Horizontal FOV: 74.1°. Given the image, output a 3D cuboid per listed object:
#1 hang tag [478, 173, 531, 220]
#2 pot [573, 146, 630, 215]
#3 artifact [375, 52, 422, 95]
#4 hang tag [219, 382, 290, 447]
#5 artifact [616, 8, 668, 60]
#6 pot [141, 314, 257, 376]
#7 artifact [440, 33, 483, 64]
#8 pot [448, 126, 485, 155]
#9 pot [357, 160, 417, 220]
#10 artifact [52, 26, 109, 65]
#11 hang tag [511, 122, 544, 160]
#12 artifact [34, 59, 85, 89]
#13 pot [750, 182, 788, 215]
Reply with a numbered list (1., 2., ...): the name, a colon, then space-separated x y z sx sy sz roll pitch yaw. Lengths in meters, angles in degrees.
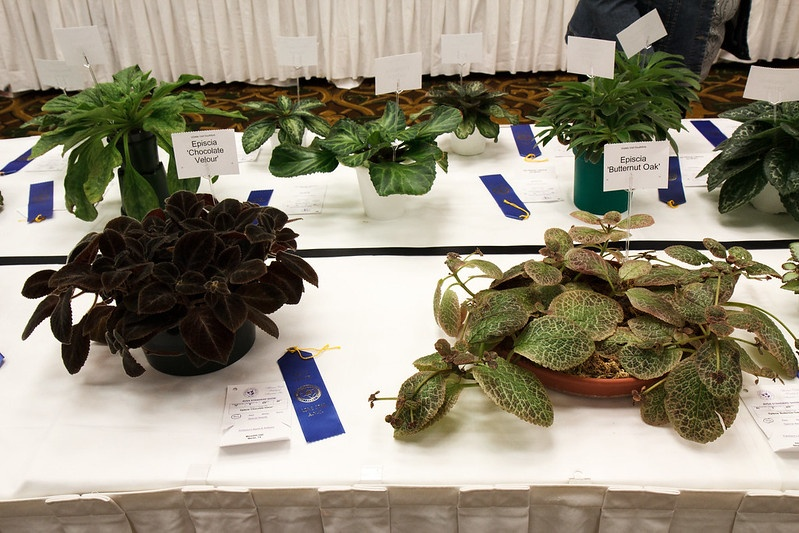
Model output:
1. hang tag: 0.387 -0.249 1.905 0.083 0.022 0.243 -16 40 -9
2. pot: 0.656 -0.272 1.816 0.193 0.201 0.211 -3 46 3
3. artifact: -0.004 -0.729 2.017 0.199 0.148 0.095 -20 33 -21
4. hang tag: -0.339 0.350 1.272 0.162 0.052 0.150 -7 31 -2
5. artifact: 0.844 -0.801 1.834 0.140 0.154 0.111 -4 31 5
6. pot: -0.502 0.221 1.335 0.186 0.060 0.176 -3 41 3
7. artifact: 0.267 -0.904 2.219 0.159 0.135 0.172 -4 31 5
8. pot: 0.291 -0.515 2.154 0.160 0.111 0.149 -5 31 3
9. pot: -0.087 -0.230 1.850 0.130 0.162 0.168 -12 4 -35
10. artifact: -1.255 -0.864 2.092 0.155 0.154 0.226 -21 34 -23
11. hang tag: 0.531 -0.514 2.176 0.094 0.287 0.036 11 73 29
12. artifact: -1.390 -0.780 2.172 0.137 0.147 0.252 -23 35 -25
13. pot: 1.215 -0.209 1.751 0.096 0.096 0.103 -20 39 17
